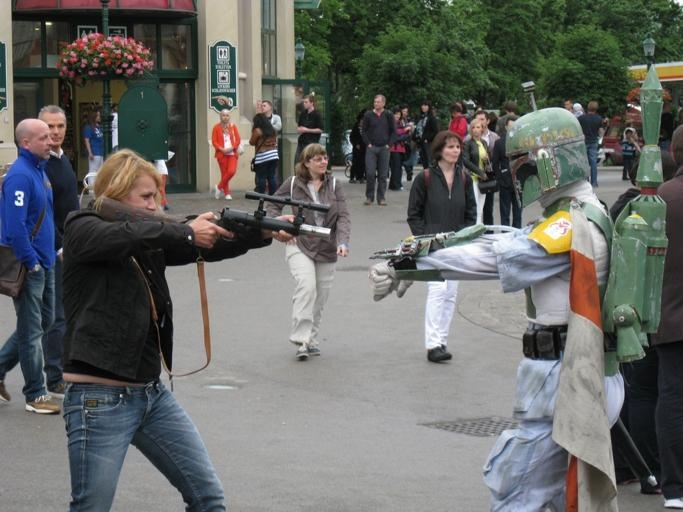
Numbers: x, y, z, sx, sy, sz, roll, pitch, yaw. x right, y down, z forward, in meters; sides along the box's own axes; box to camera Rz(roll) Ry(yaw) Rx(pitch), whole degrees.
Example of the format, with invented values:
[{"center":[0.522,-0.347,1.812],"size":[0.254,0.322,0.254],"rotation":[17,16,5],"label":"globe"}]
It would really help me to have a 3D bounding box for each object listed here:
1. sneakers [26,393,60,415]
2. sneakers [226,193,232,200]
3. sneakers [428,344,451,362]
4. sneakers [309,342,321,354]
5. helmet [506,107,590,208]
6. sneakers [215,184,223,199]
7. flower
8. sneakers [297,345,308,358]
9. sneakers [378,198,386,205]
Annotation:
[{"center":[-2.517,1.245,10.486],"size":[0.321,0.134,0.138],"rotation":[-2,-5,20],"label":"sneakers"},{"center":[-2.288,-1.185,25.154],"size":[0.074,0.087,0.211],"rotation":[-5,-5,-10],"label":"sneakers"},{"center":[0.929,0.935,12.042],"size":[0.103,0.109,0.273],"rotation":[1,-11,-30],"label":"sneakers"},{"center":[-0.271,0.896,12.367],"size":[0.109,0.101,0.226],"rotation":[0,11,2],"label":"sneakers"},{"center":[1.288,-0.623,7.809],"size":[0.479,0.590,0.450],"rotation":[-10,2,34],"label":"helmet"},{"center":[-2.542,-1.275,25.365],"size":[0.147,0.200,0.456],"rotation":[-2,-19,1],"label":"sneakers"},{"center":[-4.177,-3.463,22.142],"size":[1.028,0.589,1.064],"rotation":[4,7,39],"label":"flower"},{"center":[-0.388,0.917,12.077],"size":[0.114,0.131,0.293],"rotation":[1,2,-2],"label":"sneakers"},{"center":[0.775,-1.056,24.417],"size":[0.066,0.089,0.201],"rotation":[-1,-11,-15],"label":"sneakers"}]
